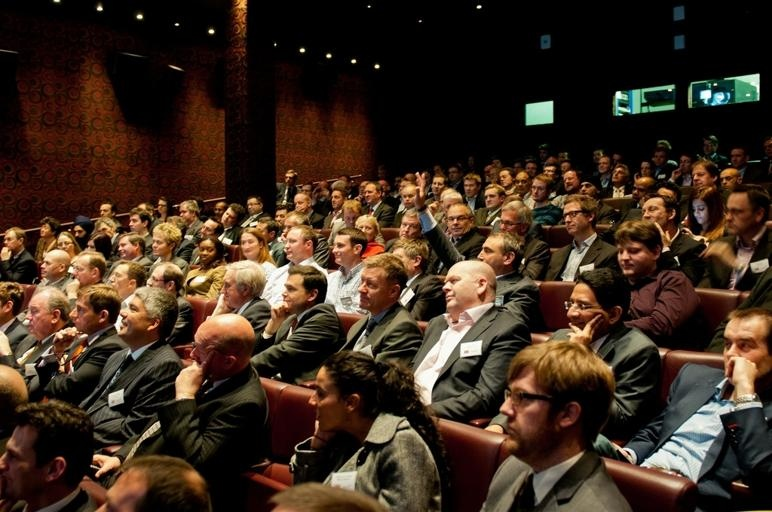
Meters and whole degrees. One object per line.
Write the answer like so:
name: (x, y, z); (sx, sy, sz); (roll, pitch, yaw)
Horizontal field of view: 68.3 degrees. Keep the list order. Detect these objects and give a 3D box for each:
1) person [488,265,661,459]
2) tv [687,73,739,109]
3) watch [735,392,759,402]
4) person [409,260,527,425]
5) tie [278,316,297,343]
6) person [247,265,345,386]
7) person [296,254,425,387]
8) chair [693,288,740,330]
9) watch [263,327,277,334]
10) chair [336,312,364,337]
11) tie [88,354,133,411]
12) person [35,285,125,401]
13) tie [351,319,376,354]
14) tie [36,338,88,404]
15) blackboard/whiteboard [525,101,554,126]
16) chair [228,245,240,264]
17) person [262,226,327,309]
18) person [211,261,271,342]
person: (1.206, 0.685, 3.567); (1.041, 1.135, 0.858); (-6, 8, -21)
tv: (6.884, -3.336, 12.068); (0.900, 0.580, 0.510); (2, 5, 29)
watch: (1.806, 0.693, 2.844); (0.079, 0.034, 0.061); (-5, -12, 31)
person: (0.622, 0.605, 4.158); (0.856, 1.113, 1.098); (11, -16, -23)
tie: (-0.775, 0.560, 4.499); (0.063, 0.159, 0.118); (3, 1, 9)
person: (-0.695, 0.539, 4.362); (0.568, 0.811, 0.399); (16, -42, -27)
person: (-0.146, 0.543, 4.261); (0.772, 1.103, 0.792); (3, -3, 40)
chair: (2.412, 0.365, 4.168); (0.285, 0.389, 0.289); (2, 0, 21)
watch: (-0.952, 0.608, 4.670); (0.075, 0.071, 0.076); (1, -13, 15)
chair: (-0.309, 0.560, 4.732); (0.181, 0.221, 0.183); (5, -22, -12)
tie: (-1.924, 0.898, 3.993); (0.148, 0.252, 0.261); (21, -40, -34)
person: (-2.370, 0.691, 4.412); (0.301, 0.305, 0.769); (30, 13, -28)
tie: (-0.196, 0.605, 4.264); (0.075, 0.208, 0.201); (15, -20, -17)
tie: (-2.431, 0.871, 4.287); (0.269, 0.398, 0.230); (-24, -55, 42)
blackboard/whiteboard: (3.777, -3.501, 13.892); (0.074, 0.512, 0.696); (4, -4, -42)
chair: (-2.111, -0.045, 7.887); (0.166, 0.206, 0.362); (-3, 3, -16)
person: (-0.910, 0.117, 5.676); (0.489, 0.817, 0.776); (9, -12, -35)
person: (-1.248, 0.340, 5.189); (0.552, 0.778, 0.921); (5, -2, -13)
